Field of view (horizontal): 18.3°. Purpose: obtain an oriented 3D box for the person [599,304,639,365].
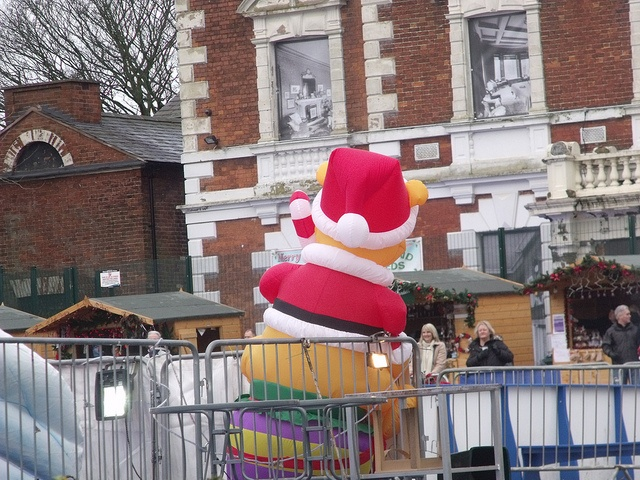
[{"bbox_3d":[5.553,1.771,36.923,0.738,1.046,0.515,-3,-5,25],"label":"person"}]
